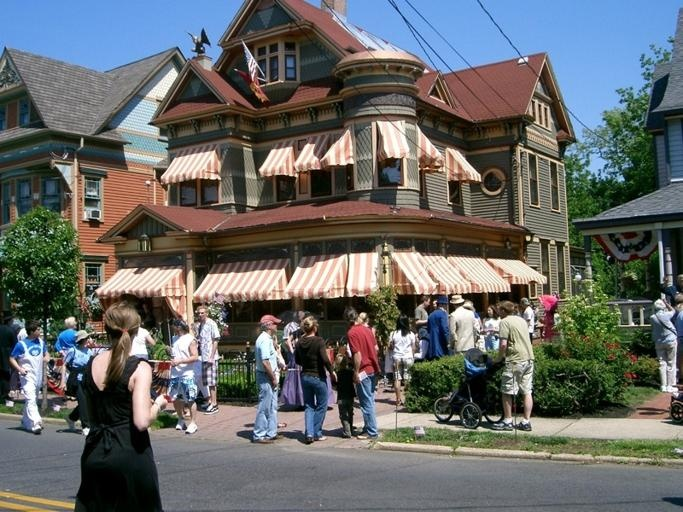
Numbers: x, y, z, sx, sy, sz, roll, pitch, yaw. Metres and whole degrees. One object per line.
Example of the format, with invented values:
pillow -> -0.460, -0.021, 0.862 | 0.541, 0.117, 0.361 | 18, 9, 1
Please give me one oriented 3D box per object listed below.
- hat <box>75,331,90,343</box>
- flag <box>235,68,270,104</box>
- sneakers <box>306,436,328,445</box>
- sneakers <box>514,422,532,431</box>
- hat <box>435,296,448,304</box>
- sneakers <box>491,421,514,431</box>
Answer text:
hat -> -6.389, 1.970, 21.692 | 0.292, 0.165, 0.312 | -26, -7, 4
flag -> -3.494, -6.791, 35.126 | 2.237, 0.269, 0.574 | 47, -6, 48
sneakers -> -0.544, 4.048, 19.341 | 0.476, 0.214, 0.165 | -5, 2, -30
sneakers -> 4.006, 3.732, 19.225 | 0.174, 0.197, 0.435 | -1, 3, -39
hat -> 2.727, 1.196, 23.671 | 0.441, 0.183, 0.488 | 0, -1, 14
sneakers -> 3.582, 3.763, 19.451 | 0.409, 0.202, 0.190 | 1, -3, 31
